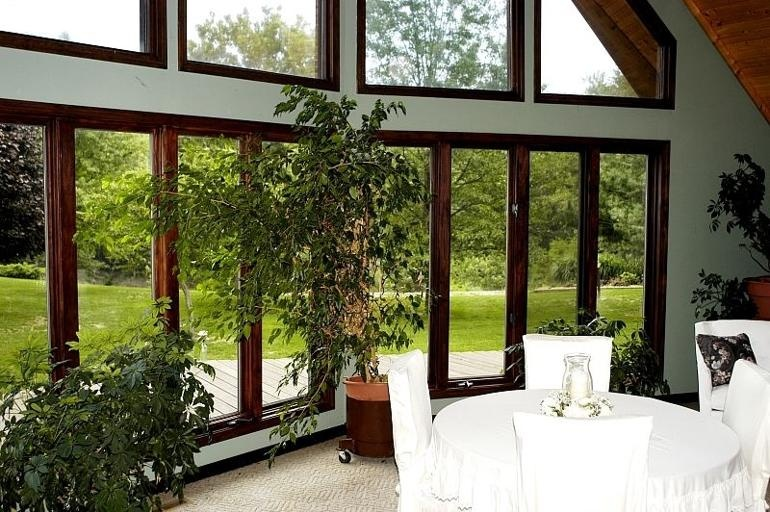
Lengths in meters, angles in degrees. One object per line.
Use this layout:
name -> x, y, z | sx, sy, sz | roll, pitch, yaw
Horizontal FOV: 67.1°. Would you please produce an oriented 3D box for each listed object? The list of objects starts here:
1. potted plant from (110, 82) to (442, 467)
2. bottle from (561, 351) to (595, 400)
potted plant -> -0.733, -0.110, 5.662 | 2.883, 3.559, 2.783 | -2, 7, -25
bottle -> 1.078, 0.683, 3.267 | 0.211, 0.362, 0.214 | 0, -9, 0
